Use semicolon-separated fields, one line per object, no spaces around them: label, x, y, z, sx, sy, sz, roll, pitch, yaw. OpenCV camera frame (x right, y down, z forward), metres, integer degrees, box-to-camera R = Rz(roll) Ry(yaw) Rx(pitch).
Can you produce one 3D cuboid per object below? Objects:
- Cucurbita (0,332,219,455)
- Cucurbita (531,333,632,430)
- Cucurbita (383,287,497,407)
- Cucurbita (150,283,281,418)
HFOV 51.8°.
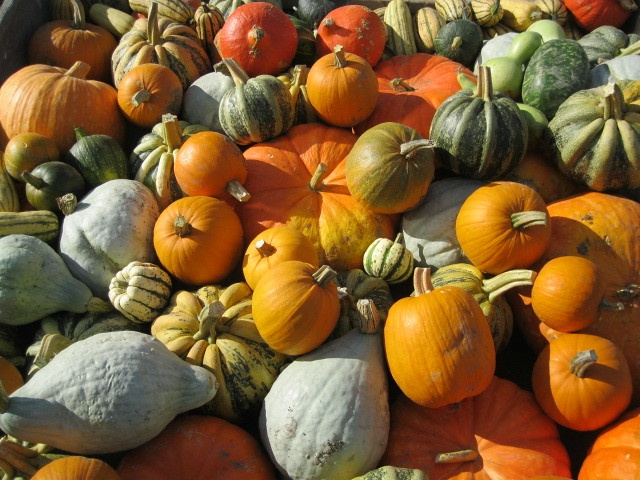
Cucurbita;-1.369;1.077;4.418;1.226;0.721;0.746;-14;66;-5
Cucurbita;1.809;1.014;4.533;0.533;0.589;0.678;2;65;20
Cucurbita;0.849;0.649;4.632;0.622;0.710;0.778;-5;92;12
Cucurbita;-0.702;0.745;4.662;0.792;0.479;0.911;13;57;-1
